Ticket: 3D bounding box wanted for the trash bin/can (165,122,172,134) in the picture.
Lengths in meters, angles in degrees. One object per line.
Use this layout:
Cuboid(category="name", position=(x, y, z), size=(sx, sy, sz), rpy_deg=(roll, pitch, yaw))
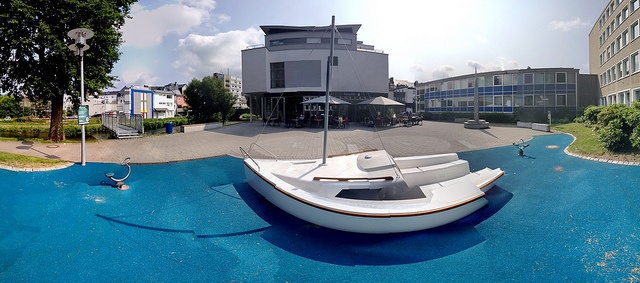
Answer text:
Cuboid(category="trash bin/can", position=(-20.120, -1.878, 45.093), size=(0.680, 1.450, 0.871), rpy_deg=(-6, 8, -33))
